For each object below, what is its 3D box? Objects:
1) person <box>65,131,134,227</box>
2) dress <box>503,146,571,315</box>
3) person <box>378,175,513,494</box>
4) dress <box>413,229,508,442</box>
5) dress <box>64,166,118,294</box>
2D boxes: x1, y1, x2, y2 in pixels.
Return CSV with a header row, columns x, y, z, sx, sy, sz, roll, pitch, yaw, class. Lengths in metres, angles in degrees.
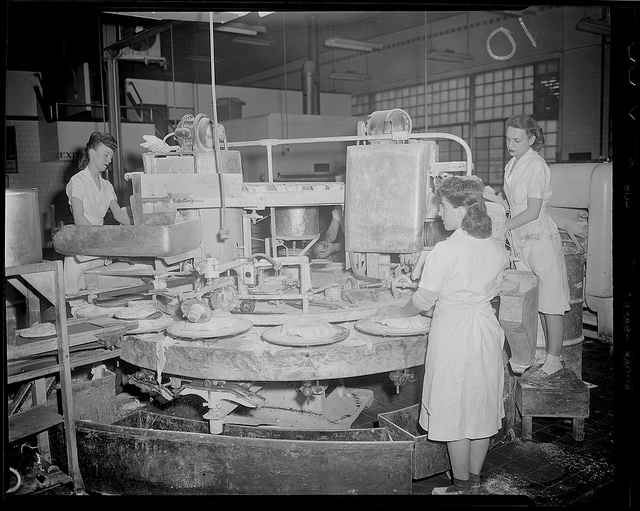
x,y,z,sx,sy,sz,roll,pitch,yaw,class
-1.938,-0.661,5.633,0.363,0.800,0.520,3,6,27,person
1.782,-0.202,5.216,0.554,1.351,0.378,3,6,22,dress
0.928,0.531,4.205,0.616,2.054,0.309,1,6,7,person
0.940,0.521,4.214,0.646,1.376,0.217,-1,6,-16,dress
-2.086,-0.138,5.759,0.311,1.339,0.526,8,8,25,dress
